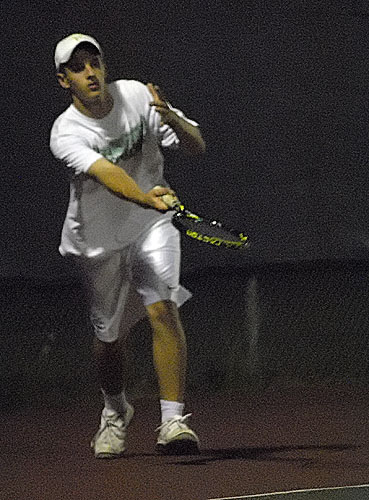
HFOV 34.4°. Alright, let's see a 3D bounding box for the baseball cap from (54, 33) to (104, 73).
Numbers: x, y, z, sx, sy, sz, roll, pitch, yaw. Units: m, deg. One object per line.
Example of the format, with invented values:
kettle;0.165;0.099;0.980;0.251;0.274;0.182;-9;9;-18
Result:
baseball cap;-0.428;-0.779;2.378;0.210;0.144;0.185;-16;25;-40
